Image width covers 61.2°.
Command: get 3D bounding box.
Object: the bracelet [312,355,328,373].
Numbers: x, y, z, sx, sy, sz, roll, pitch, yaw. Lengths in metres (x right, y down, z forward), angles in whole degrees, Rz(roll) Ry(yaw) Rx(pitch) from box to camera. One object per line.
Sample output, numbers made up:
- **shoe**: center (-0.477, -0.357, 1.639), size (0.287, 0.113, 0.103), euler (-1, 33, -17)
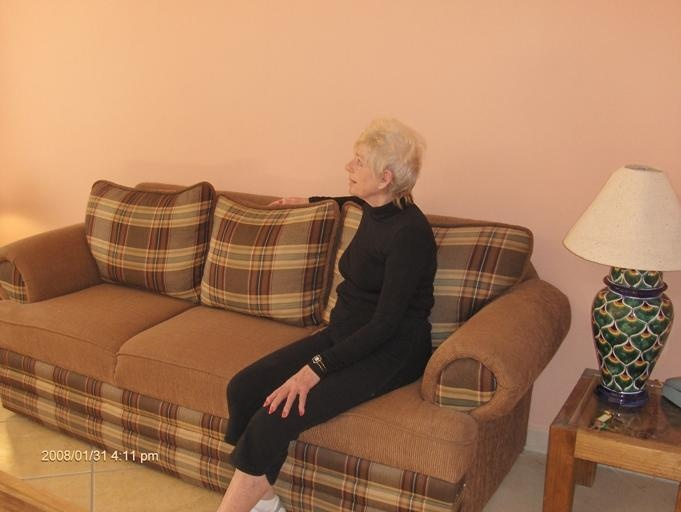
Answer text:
- **bracelet**: center (-0.072, 0.395, 2.134), size (0.040, 0.064, 0.026), euler (-32, 0, 5)
